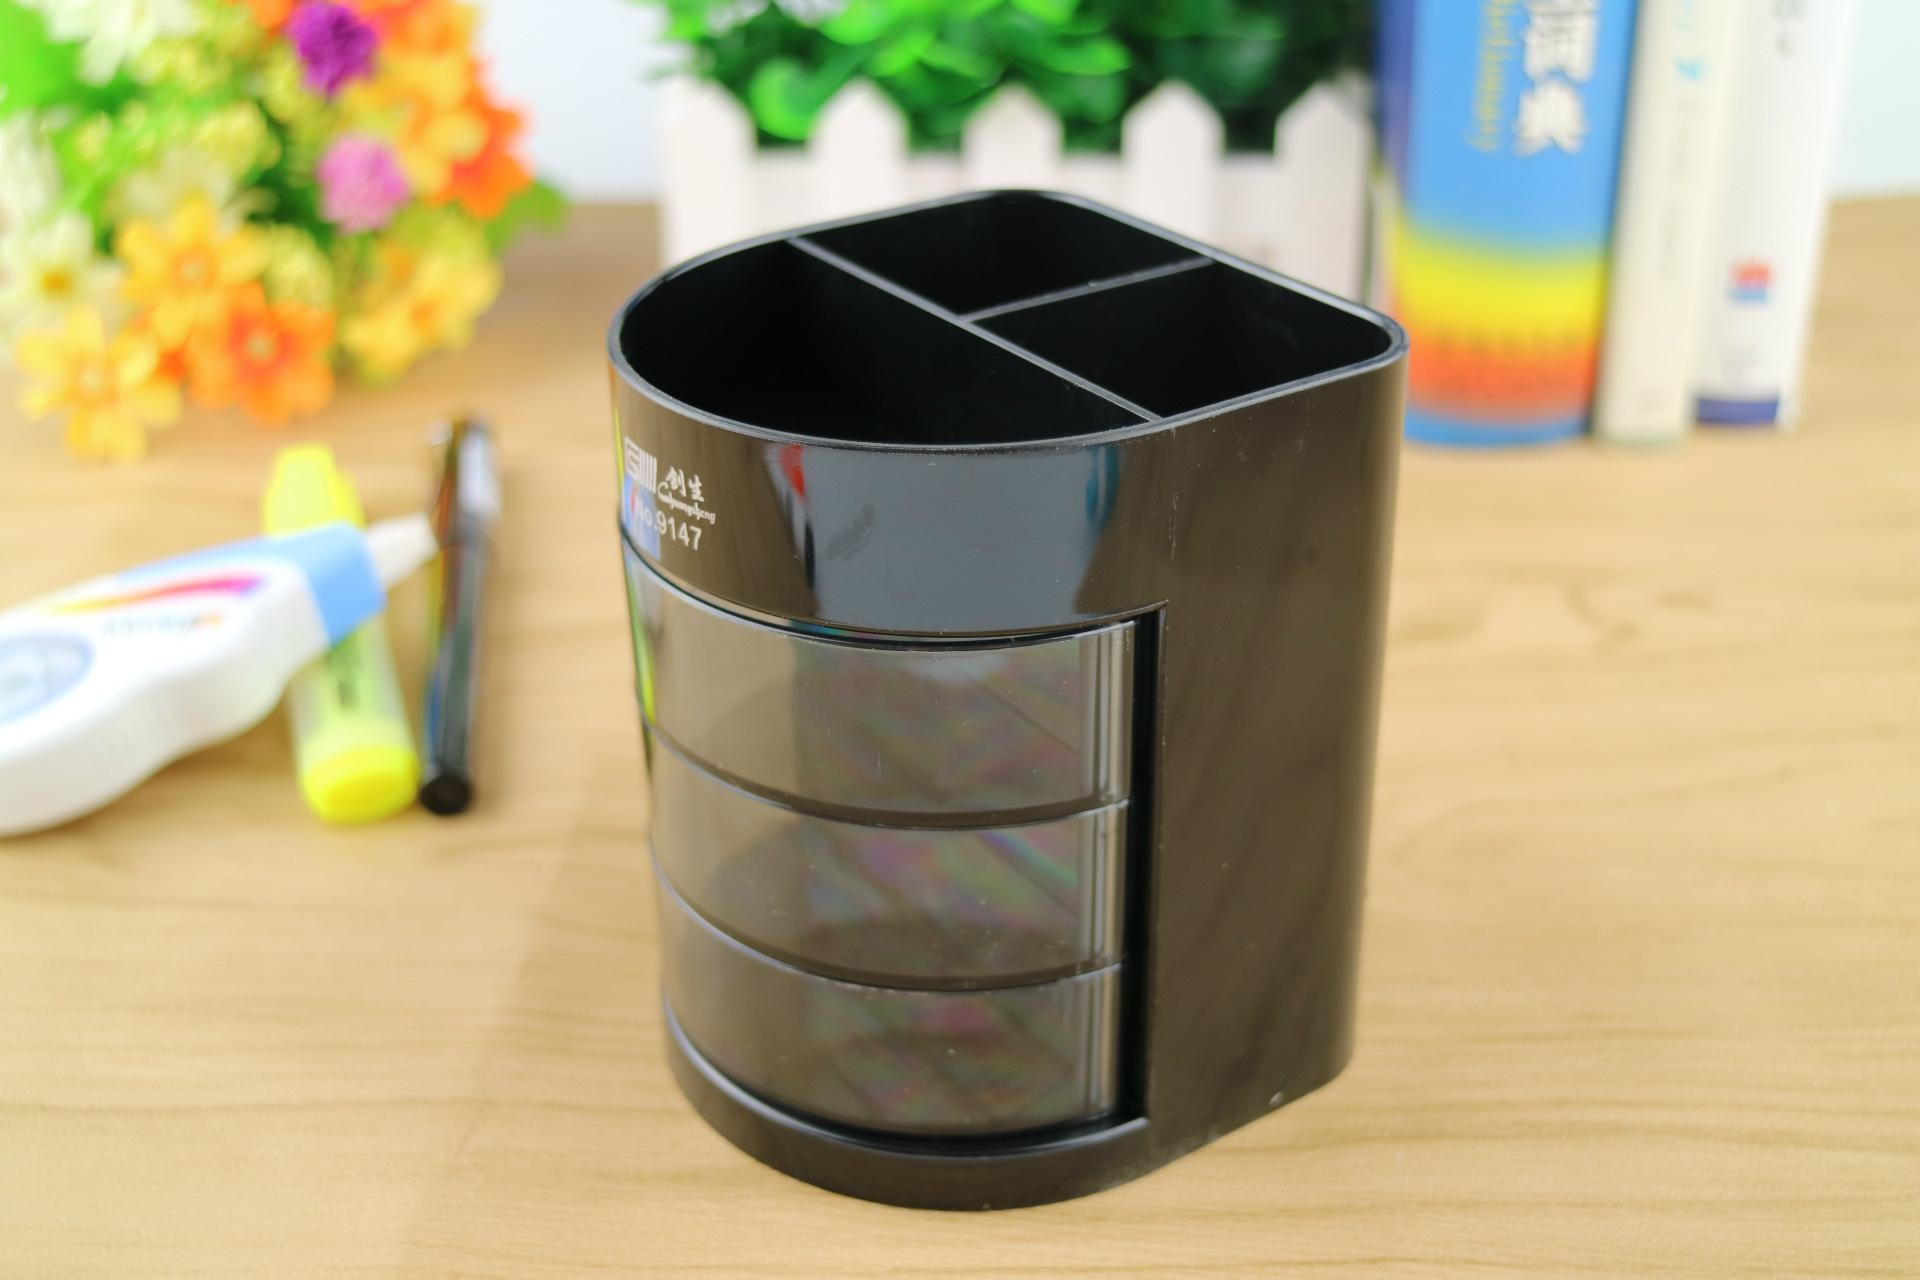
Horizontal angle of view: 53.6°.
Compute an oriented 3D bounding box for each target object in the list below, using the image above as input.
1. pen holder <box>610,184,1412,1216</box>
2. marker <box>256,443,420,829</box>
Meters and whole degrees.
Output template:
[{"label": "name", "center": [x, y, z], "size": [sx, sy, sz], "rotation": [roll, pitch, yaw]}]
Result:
[{"label": "pen holder", "center": [-0.002, 0.004, 0.842], "size": [0.345, 0.408, 0.338], "rotation": [-14, 35, -20]}, {"label": "marker", "center": [-0.294, 0.004, 0.897], "size": [0.052, 0.049, 0.208], "rotation": [-12, 44, -6]}]
